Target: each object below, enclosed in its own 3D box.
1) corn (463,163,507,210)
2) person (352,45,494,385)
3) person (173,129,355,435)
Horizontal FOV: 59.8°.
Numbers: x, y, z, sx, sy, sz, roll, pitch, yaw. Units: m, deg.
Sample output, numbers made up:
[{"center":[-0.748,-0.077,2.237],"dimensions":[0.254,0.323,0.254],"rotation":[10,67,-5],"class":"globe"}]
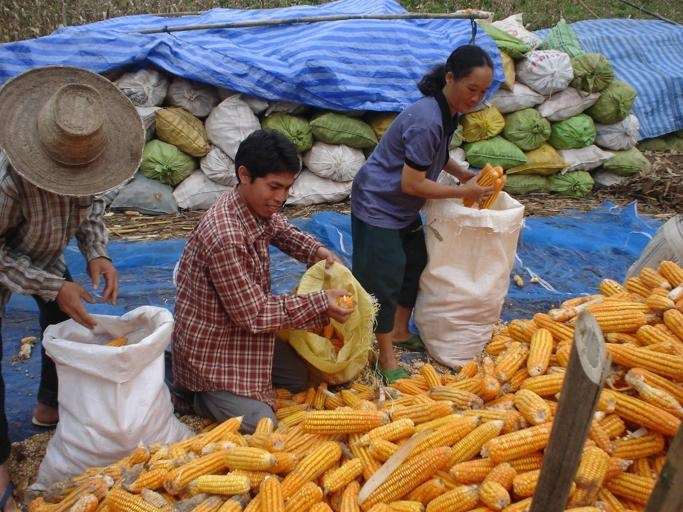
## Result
[{"center":[1.091,-0.514,4.378],"dimensions":[0.273,0.331,0.236],"rotation":[-5,20,-28],"class":"corn"},{"center":[0.654,-0.271,4.396],"dimensions":[1.126,2.262,0.860],"rotation":[7,17,24],"class":"person"},{"center":[-0.542,0.346,4.061],"dimensions":[1.276,2.227,1.298],"rotation":[-3,21,-10],"class":"person"}]
